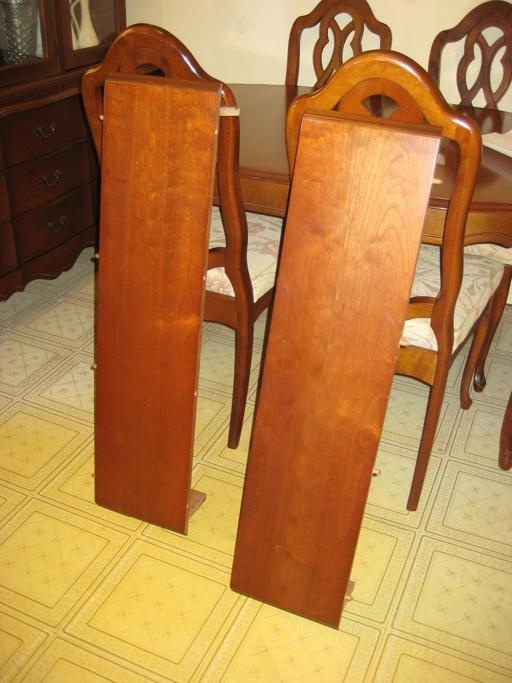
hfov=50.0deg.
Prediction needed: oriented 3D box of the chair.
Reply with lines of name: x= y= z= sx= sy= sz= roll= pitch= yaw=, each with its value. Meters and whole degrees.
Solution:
chair: x=0.247 y=-0.192 z=1.540 sx=0.793 sy=1.085 sz=1.157 roll=16 pitch=27 yaw=26
